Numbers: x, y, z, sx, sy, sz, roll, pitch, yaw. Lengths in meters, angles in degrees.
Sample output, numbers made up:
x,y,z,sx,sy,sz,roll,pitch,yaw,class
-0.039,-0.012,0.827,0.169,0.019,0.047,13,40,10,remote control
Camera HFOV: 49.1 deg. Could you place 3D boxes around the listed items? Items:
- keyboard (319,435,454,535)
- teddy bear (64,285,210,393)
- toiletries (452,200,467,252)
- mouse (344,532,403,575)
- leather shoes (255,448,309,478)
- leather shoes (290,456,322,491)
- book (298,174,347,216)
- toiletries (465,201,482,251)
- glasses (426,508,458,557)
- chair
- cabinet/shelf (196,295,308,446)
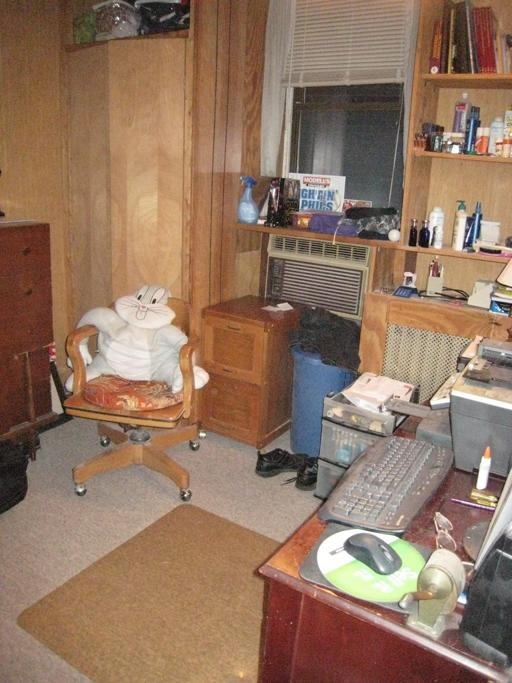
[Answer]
x,y,z,sx,sy,sz,roll,pitch,yaw,class
0.338,0.339,1.392,0.217,0.064,0.439,8,21,33,keyboard
-0.609,-0.009,2.884,0.750,0.575,0.386,9,24,-1,teddy bear
1.012,-0.570,2.774,0.056,0.230,0.288,7,16,19,toiletries
0.226,0.407,1.075,0.056,0.028,0.091,-10,12,-35,mouse
0.132,0.656,3.095,0.250,0.093,0.125,-10,18,-27,leather shoes
0.273,0.702,3.010,0.103,0.060,0.191,5,25,13,leather shoes
0.412,-0.886,3.389,0.333,0.223,0.016,18,27,32,book
1.044,-0.552,2.703,0.069,0.214,0.065,11,18,33,toiletries
0.416,0.420,1.236,0.057,0.022,0.088,-1,28,2,glasses
-0.626,0.243,2.870,0.618,0.842,0.704,-1,15,-9,chair
-0.030,0.205,3.440,0.494,0.752,0.513,14,17,33,cabinet/shelf
